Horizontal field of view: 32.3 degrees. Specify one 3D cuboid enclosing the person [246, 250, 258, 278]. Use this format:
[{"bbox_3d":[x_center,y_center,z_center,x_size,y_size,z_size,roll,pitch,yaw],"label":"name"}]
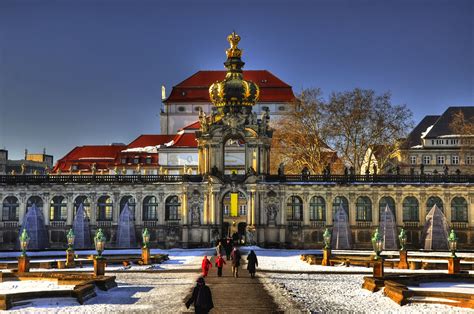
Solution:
[{"bbox_3d":[1.360,9.282,71.290,0.766,2.479,1.592,0,9,3],"label":"person"}]
